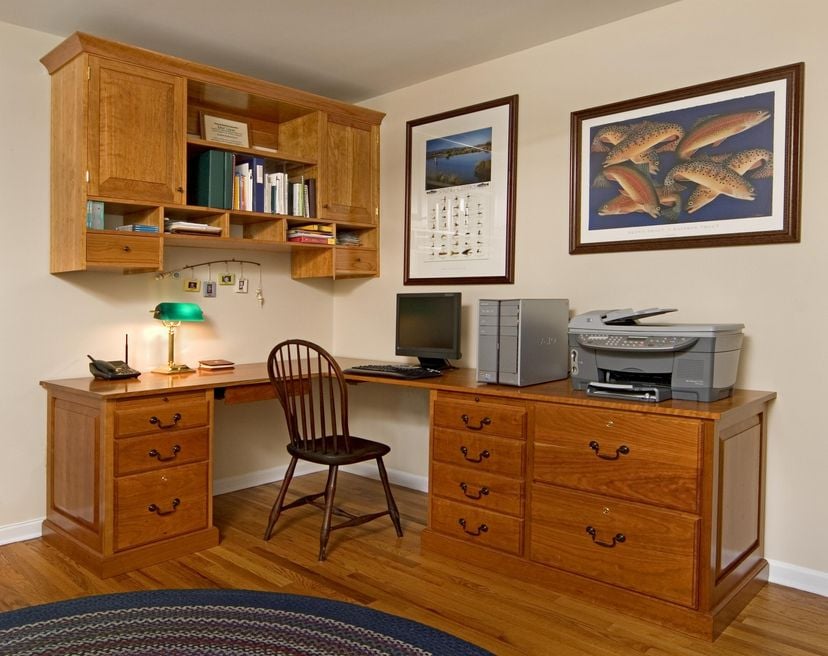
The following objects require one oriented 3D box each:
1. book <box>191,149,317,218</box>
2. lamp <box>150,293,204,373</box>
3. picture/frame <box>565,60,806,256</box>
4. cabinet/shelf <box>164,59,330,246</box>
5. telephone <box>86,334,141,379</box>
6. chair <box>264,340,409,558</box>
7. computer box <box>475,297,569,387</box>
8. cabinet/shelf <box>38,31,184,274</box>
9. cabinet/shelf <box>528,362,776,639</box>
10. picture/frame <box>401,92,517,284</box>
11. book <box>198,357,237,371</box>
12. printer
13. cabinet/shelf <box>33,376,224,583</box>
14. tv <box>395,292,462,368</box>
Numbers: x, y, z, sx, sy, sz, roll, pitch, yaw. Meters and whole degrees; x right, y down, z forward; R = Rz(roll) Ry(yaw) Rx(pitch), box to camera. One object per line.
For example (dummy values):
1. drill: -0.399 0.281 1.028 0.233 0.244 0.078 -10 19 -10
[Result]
1. book: -0.962 -0.842 3.900 0.720 0.342 0.314 -4 9 -41
2. lamp: -1.370 0.042 3.821 0.285 0.389 0.405 0 7 -17
3. picture/frame: 1.311 -0.790 3.281 0.035 0.737 1.280 -10 12 -30
4. cabinet/shelf: -1.021 -1.008 3.950 0.308 0.627 0.848 11 6 42
5. telephone: -1.618 0.183 3.485 0.166 0.201 0.219 2 6 -45
6. chair: -0.491 0.535 3.965 0.791 1.094 1.849 1 6 -8
7. computer box: 0.571 0.069 3.406 0.291 0.379 0.495 2 2 41
8. cabinet/shelf: -1.547 -0.841 3.359 0.716 1.138 0.464 0 8 -14
9. cabinet/shelf: 1.060 0.720 2.979 0.877 0.884 0.691 7 9 37
10. picture/frame: 0.277 -0.810 4.028 0.897 1.096 0.100 7 9 40
11. book: -1.177 0.219 3.875 0.198 0.043 0.220 -4 8 -42
12. printer: 1.089 0.024 2.925 0.743 0.348 0.490 0 -1 35
13. cabinet/shelf: -1.430 0.678 3.316 0.589 0.841 0.709 -5 10 -45
14. tv: 0.091 0.003 3.808 0.575 0.434 0.204 -2 -4 38
